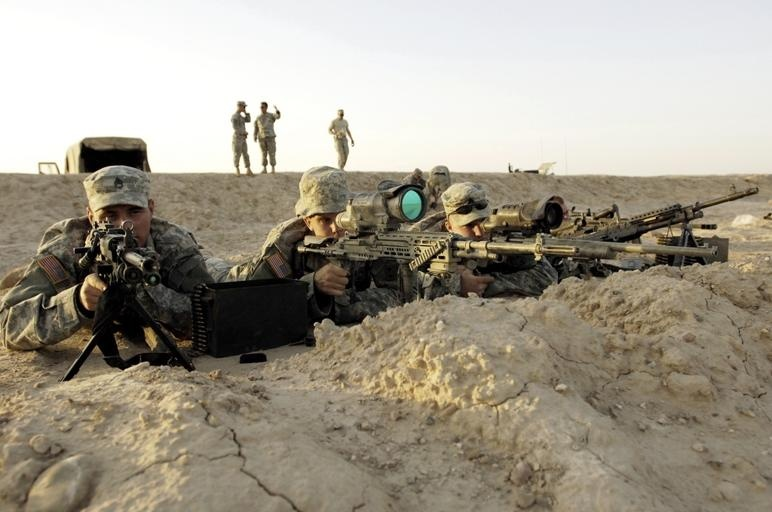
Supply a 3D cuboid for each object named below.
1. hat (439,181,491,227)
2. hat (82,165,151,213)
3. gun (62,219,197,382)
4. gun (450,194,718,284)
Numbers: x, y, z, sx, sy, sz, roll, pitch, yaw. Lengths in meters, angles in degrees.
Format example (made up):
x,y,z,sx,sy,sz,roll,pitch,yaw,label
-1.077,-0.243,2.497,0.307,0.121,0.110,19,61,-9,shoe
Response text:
x,y,z,sx,sy,sz,roll,pitch,yaw,label
0.878,-0.597,6.801,0.489,0.327,0.634,-14,21,-9,hat
-2.453,-0.640,5.853,0.619,0.387,0.768,-11,11,-32,hat
-2.156,0.332,5.005,1.003,1.100,1.909,-4,8,-34,gun
1.413,-0.071,5.115,0.445,0.768,2.304,-7,9,-41,gun
